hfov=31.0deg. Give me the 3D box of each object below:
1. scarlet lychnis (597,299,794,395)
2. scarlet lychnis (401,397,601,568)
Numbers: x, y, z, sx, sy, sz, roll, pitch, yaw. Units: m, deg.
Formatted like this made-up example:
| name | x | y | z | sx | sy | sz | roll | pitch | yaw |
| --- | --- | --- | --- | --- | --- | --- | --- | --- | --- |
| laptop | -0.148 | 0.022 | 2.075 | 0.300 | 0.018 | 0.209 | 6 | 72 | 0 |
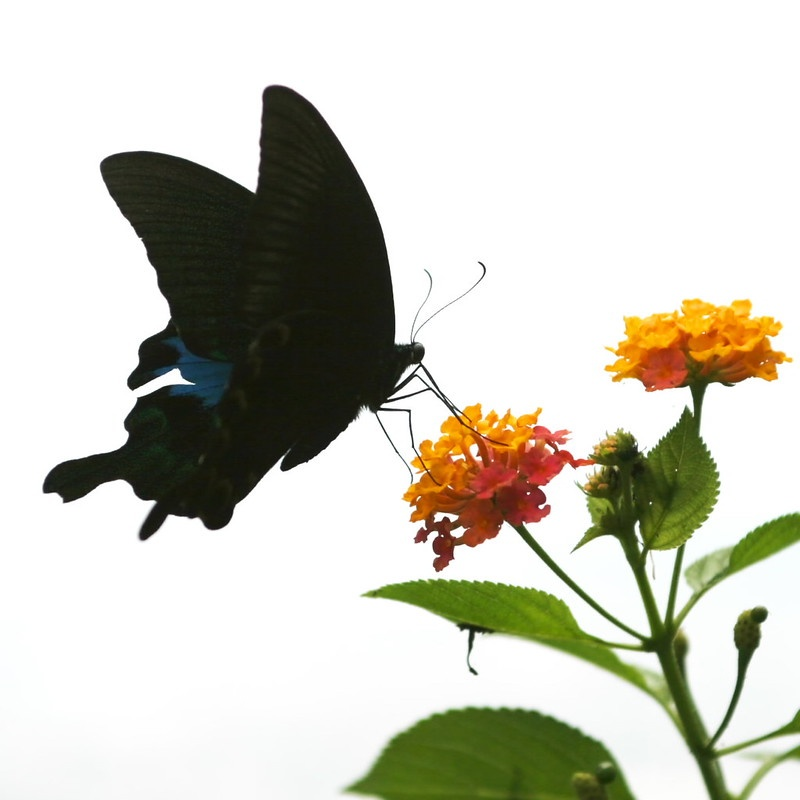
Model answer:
| name | x | y | z | sx | sy | sz | roll | pitch | yaw |
| --- | --- | --- | --- | --- | --- | --- | --- | --- | --- |
| scarlet lychnis | 0.907 | -0.118 | 4.389 | 0.492 | 0.143 | 0.481 | 9 | -12 | -44 |
| scarlet lychnis | 0.240 | 0.225 | 4.292 | 0.565 | 0.469 | 0.275 | -27 | -60 | 21 |
